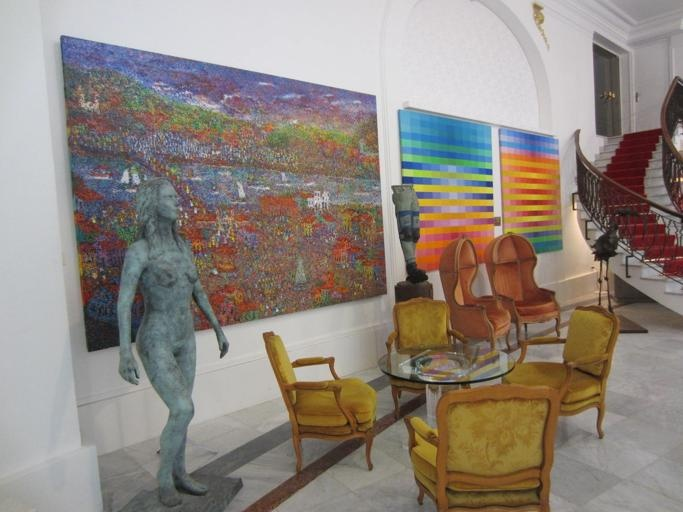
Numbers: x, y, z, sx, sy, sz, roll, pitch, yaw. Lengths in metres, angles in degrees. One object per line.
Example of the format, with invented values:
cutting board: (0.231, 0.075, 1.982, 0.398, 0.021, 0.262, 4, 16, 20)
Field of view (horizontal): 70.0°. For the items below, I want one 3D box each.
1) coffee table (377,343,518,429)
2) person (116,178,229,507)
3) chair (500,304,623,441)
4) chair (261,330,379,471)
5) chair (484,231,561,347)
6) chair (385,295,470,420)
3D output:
coffee table: (0.989, 1.310, 4.754, 1.095, 0.509, 1.106, 6, 13, 29)
person: (-1.398, 0.674, 3.962, 0.845, 2.600, 0.443, -11, 8, -36)
chair: (2.184, 1.154, 4.911, 1.055, 1.208, 0.956, -8, 9, -34)
chair: (-0.175, 1.331, 4.698, 1.025, 1.244, 0.866, -4, 4, -9)
chair: (2.898, 0.465, 7.787, 1.076, 1.636, 1.052, -4, 3, 5)
chair: (0.934, 1.105, 5.458, 0.840, 1.156, 0.784, -4, 3, 0)
